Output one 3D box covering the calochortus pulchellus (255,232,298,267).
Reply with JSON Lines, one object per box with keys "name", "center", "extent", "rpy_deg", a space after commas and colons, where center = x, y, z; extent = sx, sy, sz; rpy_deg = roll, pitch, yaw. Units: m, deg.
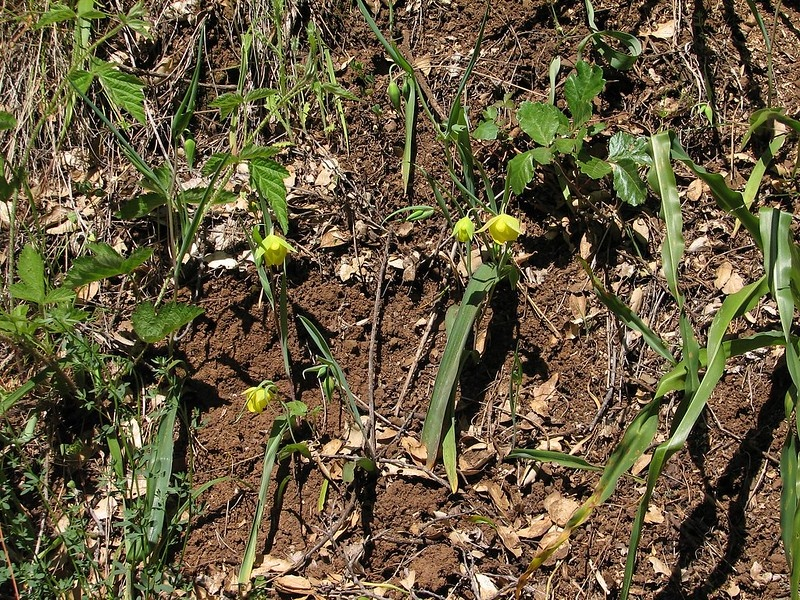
{"name": "calochortus pulchellus", "center": [-0.476, -0.180, 3.112], "extent": [0.119, 0.106, 0.115], "rpy_deg": [-34, 41, -31]}
